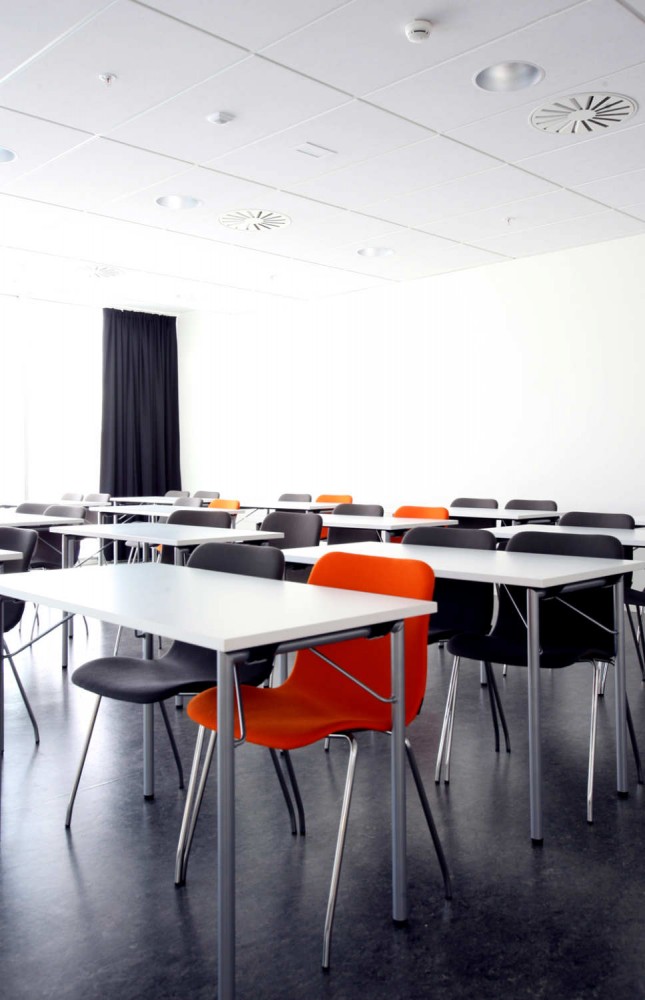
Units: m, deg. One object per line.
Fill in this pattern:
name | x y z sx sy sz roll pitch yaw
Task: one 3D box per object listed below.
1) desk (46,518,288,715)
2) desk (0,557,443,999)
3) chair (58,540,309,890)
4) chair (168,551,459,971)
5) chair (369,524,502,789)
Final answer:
desk | -0.359 0.287 1.906 0.351 0.419 0.487 1 -8 38
desk | -0.240 0.509 1.565 0.594 0.666 0.902 2 -4 -44
chair | -0.380 0.508 1.922 0.414 0.767 0.462 3 2 35
chair | -0.011 0.541 1.664 0.421 0.773 0.533 0 1 -34
chair | 0.510 0.426 2.729 0.512 1.057 0.640 -2 -3 38
